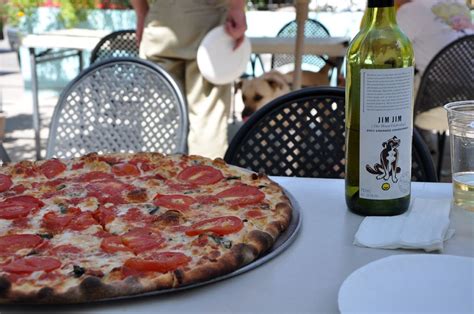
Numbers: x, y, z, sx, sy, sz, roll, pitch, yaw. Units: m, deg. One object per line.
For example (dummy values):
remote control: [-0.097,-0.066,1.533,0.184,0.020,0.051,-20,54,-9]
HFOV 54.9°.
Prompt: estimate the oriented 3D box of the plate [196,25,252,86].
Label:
plate: [-0.087,-0.580,2.603,0.324,0.340,0.083,22,6,-31]

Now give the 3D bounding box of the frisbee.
frisbee: [-0.082,-0.579,2.600,0.323,0.337,0.081,22,6,-31]
